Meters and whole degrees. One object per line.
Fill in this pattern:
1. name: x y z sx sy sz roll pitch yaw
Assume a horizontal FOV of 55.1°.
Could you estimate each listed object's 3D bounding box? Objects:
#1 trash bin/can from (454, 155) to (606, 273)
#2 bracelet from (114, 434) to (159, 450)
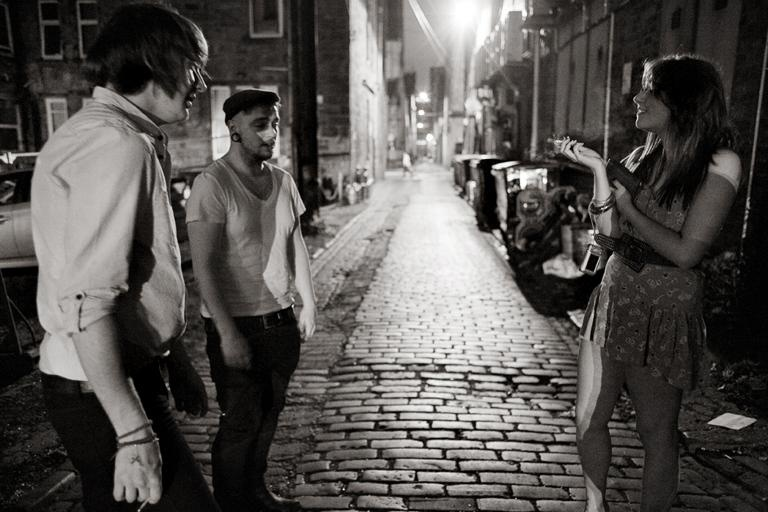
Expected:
1. trash bin/can: 3.062 -0.895 13.358 0.896 2.787 1.693 -7 14 -32
2. bracelet: -1.236 0.932 3.706 0.100 0.036 0.109 -3 -1 -3
